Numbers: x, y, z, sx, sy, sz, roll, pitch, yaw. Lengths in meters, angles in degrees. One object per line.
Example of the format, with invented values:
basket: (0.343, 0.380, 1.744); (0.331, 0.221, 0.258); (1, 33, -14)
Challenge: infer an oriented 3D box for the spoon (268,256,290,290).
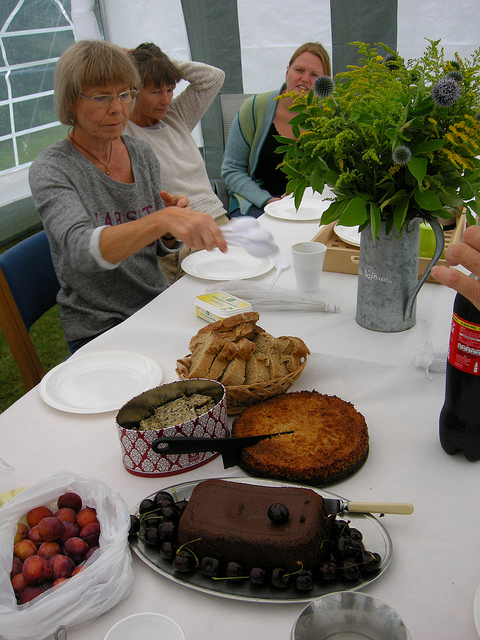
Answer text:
spoon: (0.128, -0.163, 1.621); (0.040, 0.025, 0.190); (-3, 39, 23)

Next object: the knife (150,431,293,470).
knife: (-0.033, 0.210, 0.804); (0.248, 0.084, 0.011); (-2, 49, -11)

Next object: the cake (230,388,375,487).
cake: (0.120, 0.215, 0.853); (0.183, 0.039, 0.175); (-8, 35, -15)

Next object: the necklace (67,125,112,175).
necklace: (-0.529, -0.592, 1.738); (0.040, 0.194, 0.187); (-16, 7, 40)

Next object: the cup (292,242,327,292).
cup: (0.186, -0.165, 1.532); (0.143, 0.148, 0.133); (-3, 24, 1)

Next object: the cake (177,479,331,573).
cake: (0.021, 0.256, 0.644); (0.150, 0.051, 0.095); (4, 18, 16)

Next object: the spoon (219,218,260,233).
spoon: (-0.009, -0.256, 1.371); (0.075, 0.026, 0.053); (4, 16, 33)
